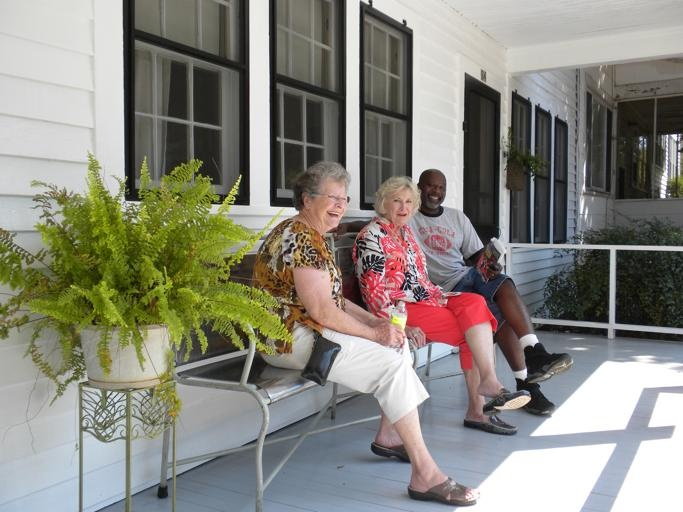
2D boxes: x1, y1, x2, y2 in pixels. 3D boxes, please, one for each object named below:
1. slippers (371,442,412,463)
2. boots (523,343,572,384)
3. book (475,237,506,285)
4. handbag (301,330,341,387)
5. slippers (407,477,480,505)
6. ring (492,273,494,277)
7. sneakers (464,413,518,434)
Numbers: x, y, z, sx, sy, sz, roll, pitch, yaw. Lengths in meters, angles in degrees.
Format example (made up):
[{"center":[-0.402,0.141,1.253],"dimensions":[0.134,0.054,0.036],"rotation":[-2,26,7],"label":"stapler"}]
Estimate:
[{"center":[0.283,1.127,3.008],"dimensions":[0.257,0.117,0.105],"rotation":[10,-4,12],"label":"slippers"},{"center":[1.361,0.670,3.392],"dimensions":[0.120,0.247,0.336],"rotation":[24,-46,-27],"label":"boots"},{"center":[1.020,0.012,3.646],"dimensions":[0.195,0.375,0.040],"rotation":[1,-40,51],"label":"book"},{"center":[-0.104,0.496,2.438],"dimensions":[0.168,0.212,0.059],"rotation":[21,0,20],"label":"handbag"},{"center":[0.499,1.114,2.500],"dimensions":[0.243,0.090,0.142],"rotation":[0,-2,12],"label":"slippers"},{"center":[1.050,0.126,3.548],"dimensions":[0.010,0.016,0.015],"rotation":[-1,9,-9],"label":"ring"},{"center":[0.987,1.091,3.402],"dimensions":[0.339,0.143,0.133],"rotation":[0,-3,29],"label":"sneakers"}]
